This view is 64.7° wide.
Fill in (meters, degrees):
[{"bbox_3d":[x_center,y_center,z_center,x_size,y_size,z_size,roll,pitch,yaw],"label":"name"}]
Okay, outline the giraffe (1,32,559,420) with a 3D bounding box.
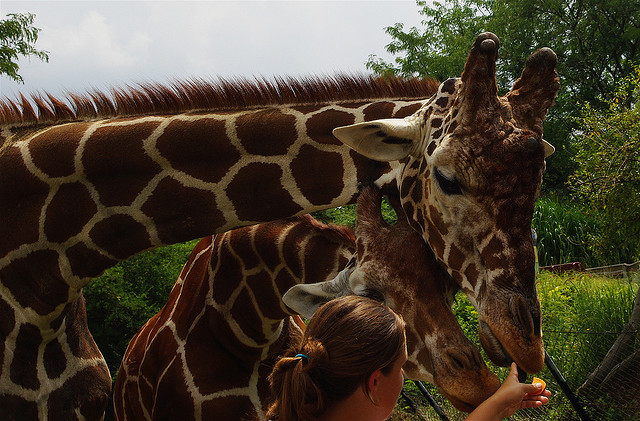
[{"bbox_3d":[-0.394,-0.047,5.809,6.376,4.044,2.346,4,3,13],"label":"giraffe"}]
